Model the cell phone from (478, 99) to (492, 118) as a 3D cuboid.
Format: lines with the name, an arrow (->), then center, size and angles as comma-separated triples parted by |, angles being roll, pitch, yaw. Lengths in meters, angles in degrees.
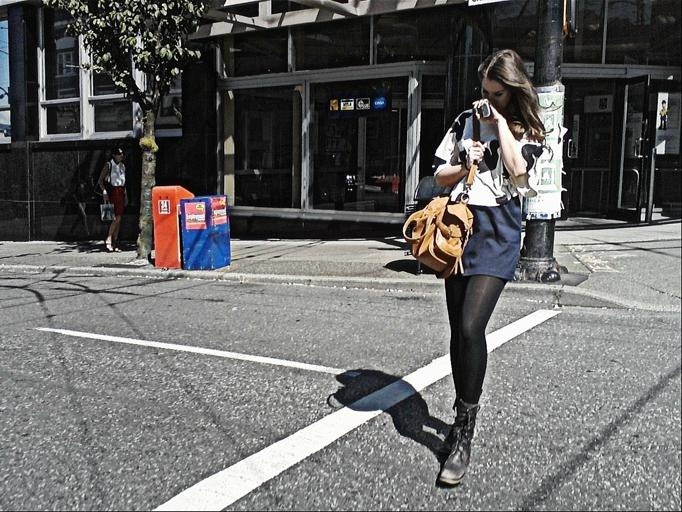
cell phone -> 0.892, -0.916, 3.466 | 0.090, 0.107, 0.055 | 5, 6, 32

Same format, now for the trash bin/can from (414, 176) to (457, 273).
trash bin/can -> 0.562, -0.180, 3.613 | 0.175, 0.388, 0.365 | 13, 16, -26

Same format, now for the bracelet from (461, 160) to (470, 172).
bracelet -> 0.789, -0.571, 3.510 | 0.037, 0.025, 0.057 | 4, -17, -18

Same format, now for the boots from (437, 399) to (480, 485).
boots -> 0.745, 1.155, 3.500 | 0.170, 0.449, 0.400 | 4, 6, 27

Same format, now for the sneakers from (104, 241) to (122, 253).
sneakers -> -5.413, -0.226, 13.163 | 0.249, 0.186, 0.435 | -6, 0, -29

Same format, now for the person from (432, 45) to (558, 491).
person -> 0.912, 0.029, 3.509 | 0.650, 2.690, 0.574 | 2, 4, 9

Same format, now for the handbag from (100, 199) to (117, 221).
handbag -> -5.412, -1.070, 12.955 | 0.268, 0.392, 0.558 | -1, 8, -28

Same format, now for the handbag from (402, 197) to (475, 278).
handbag -> 0.613, -0.120, 3.560 | 0.438, 0.514, 0.235 | 4, 6, 24
